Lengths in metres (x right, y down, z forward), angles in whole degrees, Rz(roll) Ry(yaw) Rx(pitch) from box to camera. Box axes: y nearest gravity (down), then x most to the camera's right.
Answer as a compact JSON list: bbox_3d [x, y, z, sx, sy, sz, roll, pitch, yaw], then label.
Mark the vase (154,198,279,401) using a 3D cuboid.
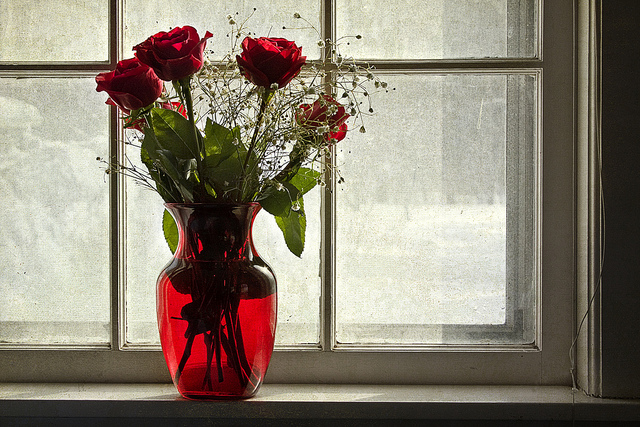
[{"bbox_3d":[-0.231,0.195,2.023,0.261,0.451,0.185,0,-7,8],"label":"vase"}]
